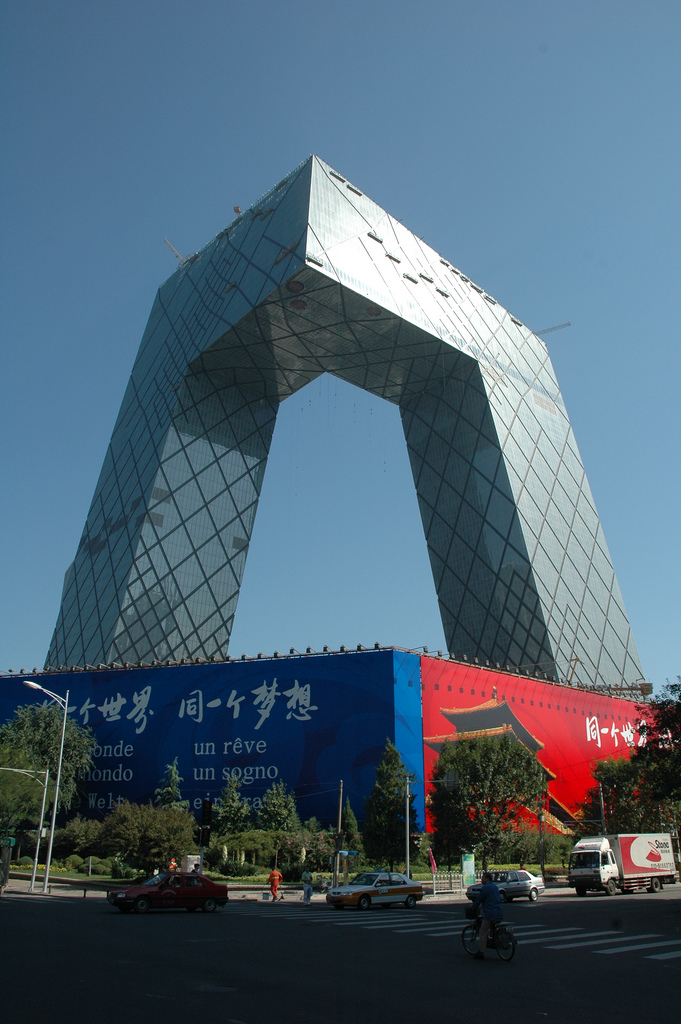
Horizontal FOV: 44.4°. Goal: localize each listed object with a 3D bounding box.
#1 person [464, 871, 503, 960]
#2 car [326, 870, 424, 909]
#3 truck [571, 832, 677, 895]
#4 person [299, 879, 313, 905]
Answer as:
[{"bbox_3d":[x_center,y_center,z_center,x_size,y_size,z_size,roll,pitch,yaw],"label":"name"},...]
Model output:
[{"bbox_3d":[2.592,7.225,14.994,0.574,1.345,1.059,-6,-24,6],"label":"person"},{"bbox_3d":[1.129,13.289,29.249,3.689,1.186,0.944,14,-29,-36],"label":"car"},{"bbox_3d":[13.418,16.678,39.552,6.133,2.654,2.104,17,-31,-40],"label":"truck"},{"bbox_3d":[-1.382,14.880,32.693,0.298,0.856,0.960,-1,-24,-6],"label":"person"}]
